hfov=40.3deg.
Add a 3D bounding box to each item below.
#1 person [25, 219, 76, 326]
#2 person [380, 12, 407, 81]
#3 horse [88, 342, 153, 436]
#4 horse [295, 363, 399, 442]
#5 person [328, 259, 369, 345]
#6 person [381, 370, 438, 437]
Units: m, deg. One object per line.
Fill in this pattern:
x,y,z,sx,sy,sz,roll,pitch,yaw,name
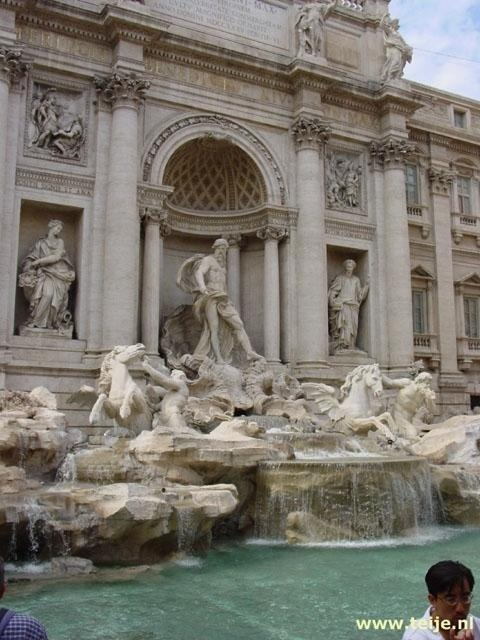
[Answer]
-4.731,-1.049,16.113,1.275,2.703,0.697,3,-14,-18,person
5.186,-9.103,22.093,1.065,2.779,0.510,2,-14,-16,person
-2.166,1.266,12.171,0.896,1.639,1.037,1,-13,-10,horse
2.848,1.936,15.279,1.478,1.892,2.314,-7,-14,34,horse
3.350,-0.430,20.583,1.348,2.850,0.578,3,-14,-20,person
4.252,2.158,16.618,1.190,1.814,1.019,19,-33,-15,person
